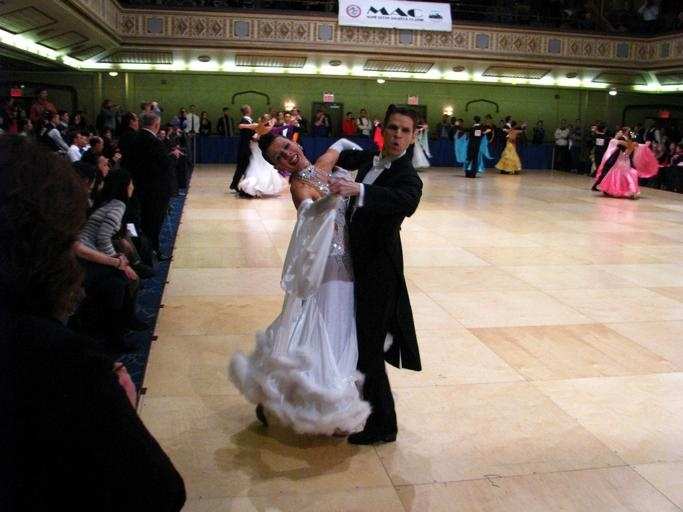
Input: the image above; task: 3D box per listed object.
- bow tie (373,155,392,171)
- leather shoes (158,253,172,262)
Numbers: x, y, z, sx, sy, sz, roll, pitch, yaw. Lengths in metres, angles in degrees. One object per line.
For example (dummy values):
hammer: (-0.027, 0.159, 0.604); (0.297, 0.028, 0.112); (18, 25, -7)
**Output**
bow tie: (0.210, -0.485, 2.604); (0.043, 0.068, 0.129); (-6, 13, -29)
leather shoes: (-2.301, 0.014, 6.489); (0.179, 0.125, 0.059); (-10, 25, -17)
